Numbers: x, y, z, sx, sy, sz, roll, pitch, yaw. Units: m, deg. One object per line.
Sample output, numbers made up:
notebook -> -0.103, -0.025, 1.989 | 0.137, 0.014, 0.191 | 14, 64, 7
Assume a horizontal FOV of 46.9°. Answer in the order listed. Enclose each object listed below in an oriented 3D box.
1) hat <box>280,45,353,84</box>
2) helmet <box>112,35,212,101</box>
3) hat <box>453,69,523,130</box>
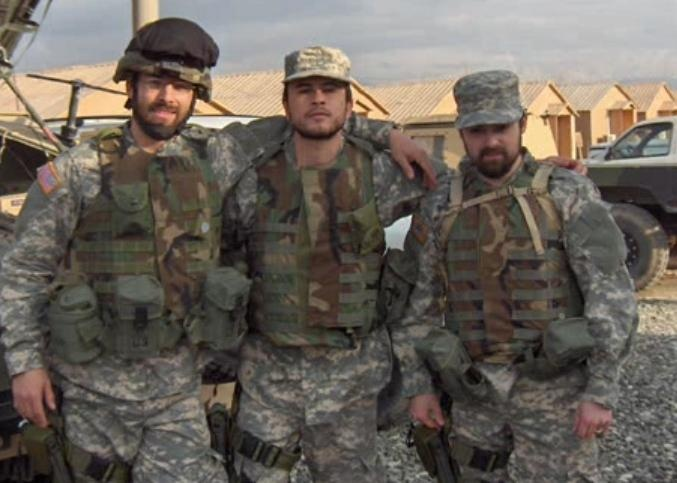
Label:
hat -> -0.114, -0.890, 3.989 | 0.381, 0.179, 0.514 | 0, 9, 8
helmet -> -0.841, -0.820, 3.954 | 0.417, 0.215, 0.385 | -3, 15, -22
hat -> 0.753, -0.741, 4.023 | 0.346, 0.267, 0.492 | -9, 12, 18
